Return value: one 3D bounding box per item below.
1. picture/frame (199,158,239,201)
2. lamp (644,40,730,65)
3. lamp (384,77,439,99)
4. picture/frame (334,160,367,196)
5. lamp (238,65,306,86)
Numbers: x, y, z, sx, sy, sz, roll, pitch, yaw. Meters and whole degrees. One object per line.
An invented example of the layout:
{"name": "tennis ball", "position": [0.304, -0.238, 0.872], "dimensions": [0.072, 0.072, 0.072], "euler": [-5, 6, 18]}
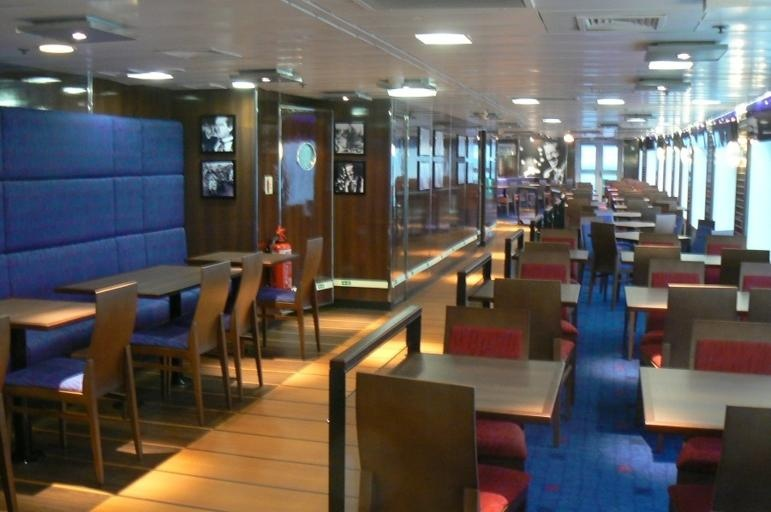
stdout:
{"name": "picture/frame", "position": [-2.122, -0.998, 7.699], "dimensions": [0.574, 0.553, 0.074], "euler": [0, 4, 12]}
{"name": "lamp", "position": [2.636, -1.818, 5.314], "dimensions": [0.682, 0.133, 0.437], "euler": [2, 11, 12]}
{"name": "lamp", "position": [0.305, -2.086, 7.423], "dimensions": [0.602, 0.149, 0.800], "euler": [0, 11, 0]}
{"name": "picture/frame", "position": [-0.501, -1.156, 8.679], "dimensions": [0.535, 0.512, 0.056], "euler": [-1, 7, 5]}
{"name": "lamp", "position": [-1.307, -2.003, 6.674], "dimensions": [0.738, 0.117, 0.527], "euler": [-3, 11, -14]}
